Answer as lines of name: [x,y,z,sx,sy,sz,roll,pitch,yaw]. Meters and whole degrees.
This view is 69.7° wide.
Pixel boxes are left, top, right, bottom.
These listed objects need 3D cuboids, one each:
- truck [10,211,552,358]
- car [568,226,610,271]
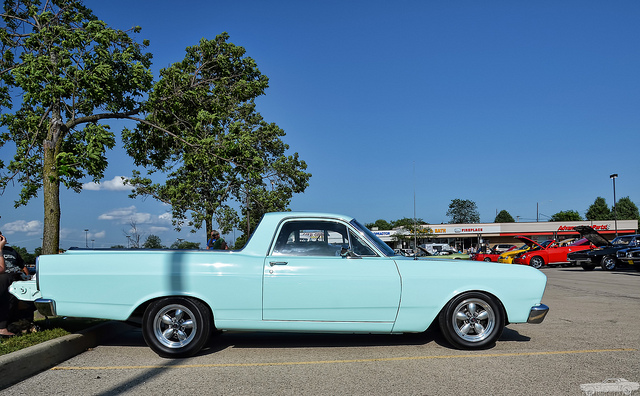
truck: [-0.634,1.796,10.321,12.426,2.850,3.708,0,-4,-2]
car: [15.664,2.885,26.429,3.365,2.155,1.800,2,-9,-17]
